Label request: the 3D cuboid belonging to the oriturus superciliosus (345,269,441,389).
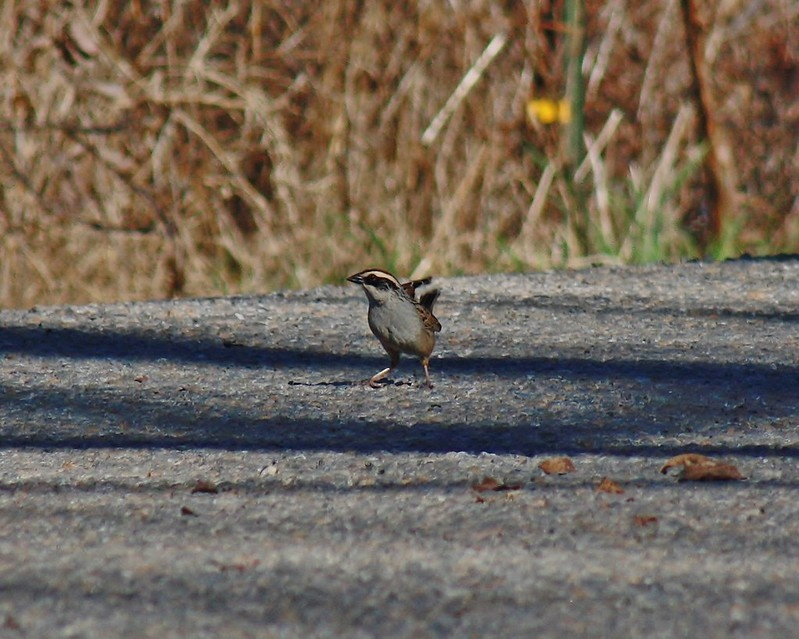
[{"bbox_3d":[0.038,0.045,7.409,0.335,0.670,0.711,-4,-1,38],"label":"oriturus superciliosus"}]
